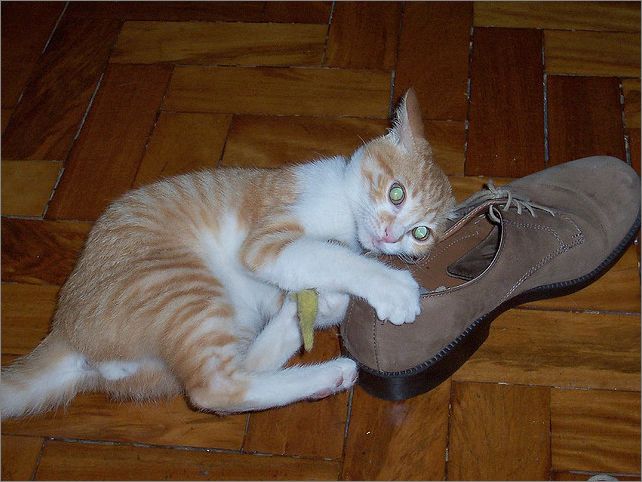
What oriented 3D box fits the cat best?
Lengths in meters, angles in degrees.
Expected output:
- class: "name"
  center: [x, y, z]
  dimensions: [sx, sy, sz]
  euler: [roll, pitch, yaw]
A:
- class: "cat"
  center: [-0.067, 0.076, 1.813]
  dimensions: [1.471, 0.620, 0.636]
  euler: [-15, 42, -15]
